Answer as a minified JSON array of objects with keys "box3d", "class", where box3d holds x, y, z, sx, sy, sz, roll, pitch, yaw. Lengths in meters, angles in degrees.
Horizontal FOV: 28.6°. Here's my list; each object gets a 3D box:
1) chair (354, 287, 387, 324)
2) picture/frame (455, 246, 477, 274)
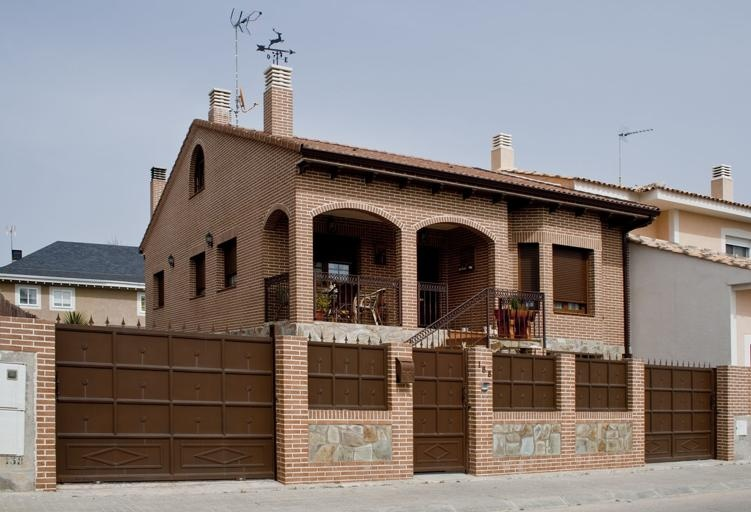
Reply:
[{"box3d":[-0.204,1.387,41.135,1.005,1.238,0.960,4,-9,-12],"class":"chair"},{"box3d":[2.603,0.150,42.666,0.065,0.846,0.736,10,-12,-35],"class":"picture/frame"}]
